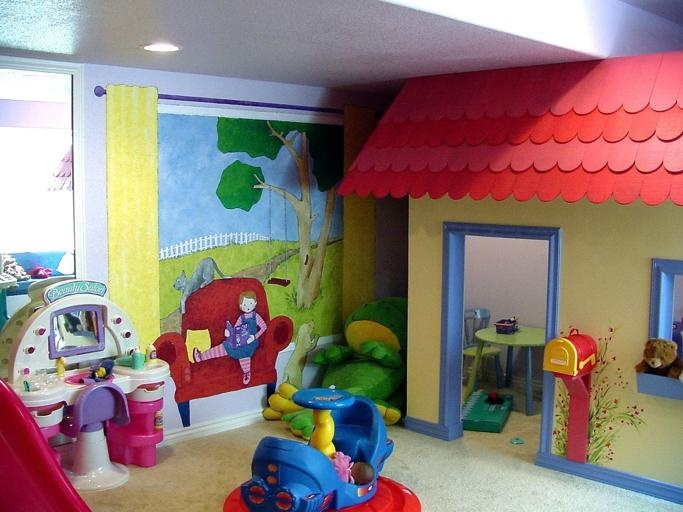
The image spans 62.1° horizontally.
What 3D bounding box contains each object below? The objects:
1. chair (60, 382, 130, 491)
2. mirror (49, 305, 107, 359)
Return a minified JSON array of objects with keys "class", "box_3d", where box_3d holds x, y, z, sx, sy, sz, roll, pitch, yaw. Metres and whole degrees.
[{"class":"chair","box_3d":[-2.107,1.529,5.234,0.737,0.918,0.813,0,2,-26]},{"class":"mirror","box_3d":[-2.317,0.651,4.945,0.054,0.422,0.476,1,2,38]}]
